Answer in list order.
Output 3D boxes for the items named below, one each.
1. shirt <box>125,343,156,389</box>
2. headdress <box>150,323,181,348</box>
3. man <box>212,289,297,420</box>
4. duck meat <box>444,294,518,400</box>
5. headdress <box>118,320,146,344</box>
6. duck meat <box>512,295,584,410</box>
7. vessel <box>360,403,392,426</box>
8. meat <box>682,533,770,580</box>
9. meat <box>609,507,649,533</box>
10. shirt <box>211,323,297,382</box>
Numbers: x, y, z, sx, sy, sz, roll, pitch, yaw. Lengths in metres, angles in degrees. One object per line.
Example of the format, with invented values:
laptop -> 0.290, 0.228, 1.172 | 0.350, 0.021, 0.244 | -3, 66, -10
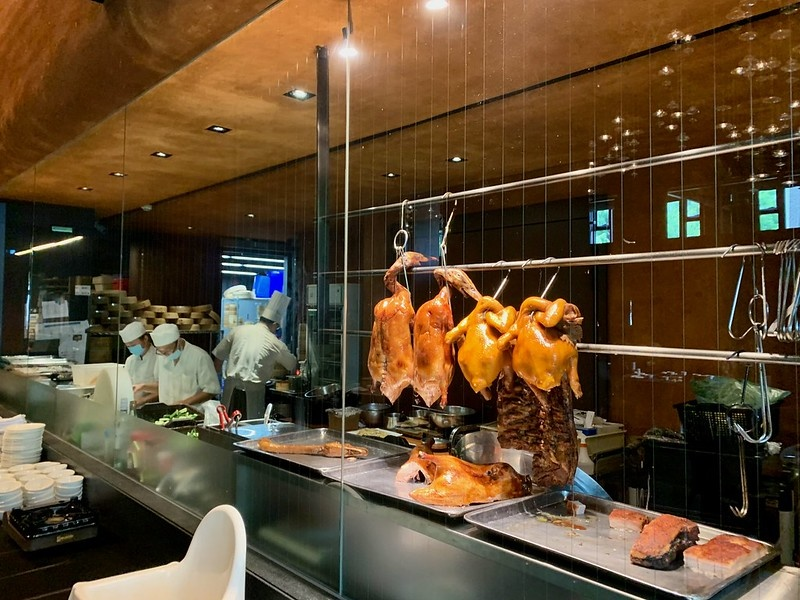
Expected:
shirt -> -1.426, 0.368, 3.616 | 0.261, 0.261, 0.144 | -2, -3, 36
headdress -> -1.233, 0.174, 3.445 | 0.126, 0.069, 0.172 | -11, 8, -7
man -> -0.599, 0.234, 2.757 | 0.328, 0.707, 0.262 | 23, 28, 32
duck meat -> 0.250, 0.145, 1.978 | 0.087, 0.308, 0.242 | 1, -2, -42
headdress -> -1.515, 0.186, 3.707 | 0.129, 0.067, 0.172 | -21, 11, 3
duck meat -> 0.408, 0.145, 1.828 | 0.101, 0.297, 0.198 | 0, -2, -21
vessel -> -0.078, 0.386, 2.235 | 0.090, 0.051, 0.081 | 6, -12, -29
meat -> 0.772, 0.608, 1.550 | 0.135, 0.036, 0.099 | -18, 12, -29
meat -> 0.586, 0.567, 1.675 | 0.073, 0.047, 0.026 | 14, 24, 30
shirt -> -0.646, 0.258, 2.886 | 0.379, 0.293, 0.195 | 11, 10, 3
